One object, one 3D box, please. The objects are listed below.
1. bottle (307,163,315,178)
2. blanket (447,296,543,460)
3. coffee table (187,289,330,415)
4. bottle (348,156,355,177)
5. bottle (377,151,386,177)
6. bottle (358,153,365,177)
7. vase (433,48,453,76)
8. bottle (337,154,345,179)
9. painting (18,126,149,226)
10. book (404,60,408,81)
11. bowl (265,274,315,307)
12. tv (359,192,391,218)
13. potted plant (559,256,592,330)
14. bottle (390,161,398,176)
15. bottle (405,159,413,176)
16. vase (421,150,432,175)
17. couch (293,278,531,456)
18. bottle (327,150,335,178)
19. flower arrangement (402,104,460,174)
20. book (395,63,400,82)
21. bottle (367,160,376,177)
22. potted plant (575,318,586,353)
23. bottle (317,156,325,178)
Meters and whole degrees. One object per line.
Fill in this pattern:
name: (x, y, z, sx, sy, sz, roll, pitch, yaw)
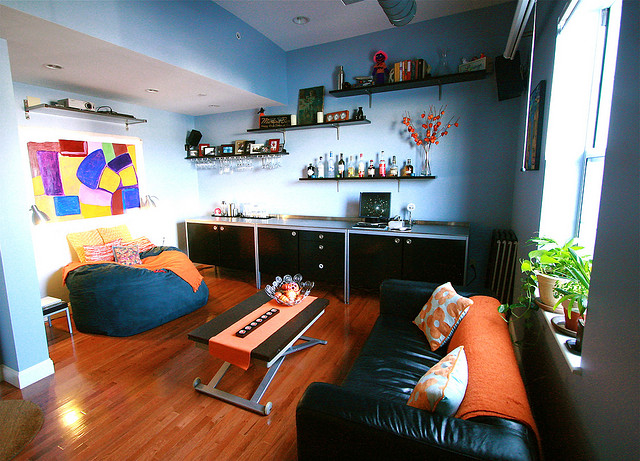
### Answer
bottle: (-0.121, -0.796, 5.864, 0.086, 0.187, 0.168, -3, 10, 1)
blanket: (1.151, 0.993, 2.928, 0.365, 0.469, 1.059, 3, 14, 15)
coffee table: (-0.502, 1.057, 4.107, 0.792, 0.521, 1.221, 8, 14, 22)
bottle: (0.393, -0.818, 5.629, 0.086, 0.246, 0.111, -3, 10, 1)
bottle: (0.749, -0.816, 5.417, 0.102, 0.303, 0.186, 0, 10, 12)
bottle: (0.516, -0.823, 5.541, 0.071, 0.288, 0.154, -2, 10, 5)
vase: (1.393, -1.918, 5.014, 0.152, 0.302, 0.194, -10, 12, -34)
bottle: (0.267, -0.813, 5.637, 0.086, 0.310, 0.187, -2, 10, 3)
painting: (-2.827, -0.608, 5.465, 0.020, 1.164, 1.691, 6, 9, 20)
book: (0.985, -1.839, 5.065, 0.040, 0.161, 0.168, 1, 13, 15)
bowl: (-0.304, 0.612, 4.252, 0.434, 0.163, 0.479, 24, 27, 39)
tv: (0.695, -0.309, 5.476, 0.345, 0.260, 0.055, 1, 0, 24)
potted plant: (1.594, 0.411, 2.770, 0.162, 0.486, 0.290, 3, 11, 29)
bottle: (0.895, -0.753, 5.366, 0.091, 0.168, 0.098, -3, 10, 0)
bottle: (1.054, -0.747, 5.260, 0.082, 0.191, 0.115, 0, 10, 17)
vase: (1.260, -0.803, 5.234, 0.104, 0.278, 0.087, -11, 13, -38)
couch: (0.783, 0.984, 3.142, 1.333, 0.754, 1.502, 2, 10, 26)
bottle: (0.141, -0.865, 5.737, 0.092, 0.356, 0.183, -3, 10, 0)
flower arrangement: (1.271, -1.056, 5.220, 0.458, 0.510, 0.389, -15, 37, -22)
book: (0.891, -1.834, 5.103, 0.053, 0.211, 0.088, -1, 10, 10)
bottle: (0.637, -0.767, 5.450, 0.095, 0.198, 0.169, -1, 10, 7)
potted plant: (1.608, 0.653, 2.735, 0.039, 0.196, 0.093, 3, 12, 28)
bottle: (0.004, -0.851, 5.858, 0.098, 0.257, 0.055, 0, 11, 15)
